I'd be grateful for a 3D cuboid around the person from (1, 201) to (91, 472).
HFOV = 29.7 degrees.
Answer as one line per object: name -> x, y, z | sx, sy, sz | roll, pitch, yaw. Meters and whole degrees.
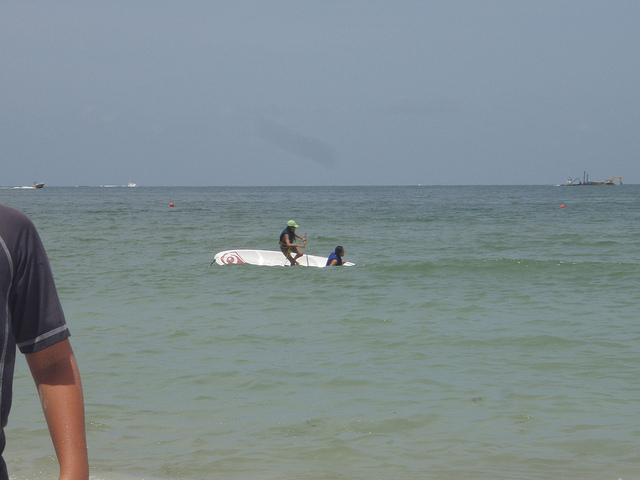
person -> -3.714, 1.295, 15.356 | 1.082, 3.434, 0.372 | -1, 6, -9
